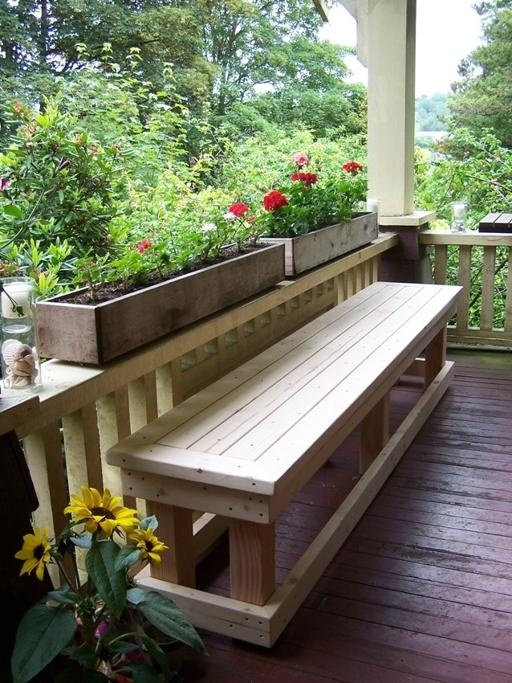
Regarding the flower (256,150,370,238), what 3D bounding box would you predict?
[{"bbox_3d":[0.376,-0.778,3.008,0.246,0.269,0.704,18,35,38],"label":"flower"}]
